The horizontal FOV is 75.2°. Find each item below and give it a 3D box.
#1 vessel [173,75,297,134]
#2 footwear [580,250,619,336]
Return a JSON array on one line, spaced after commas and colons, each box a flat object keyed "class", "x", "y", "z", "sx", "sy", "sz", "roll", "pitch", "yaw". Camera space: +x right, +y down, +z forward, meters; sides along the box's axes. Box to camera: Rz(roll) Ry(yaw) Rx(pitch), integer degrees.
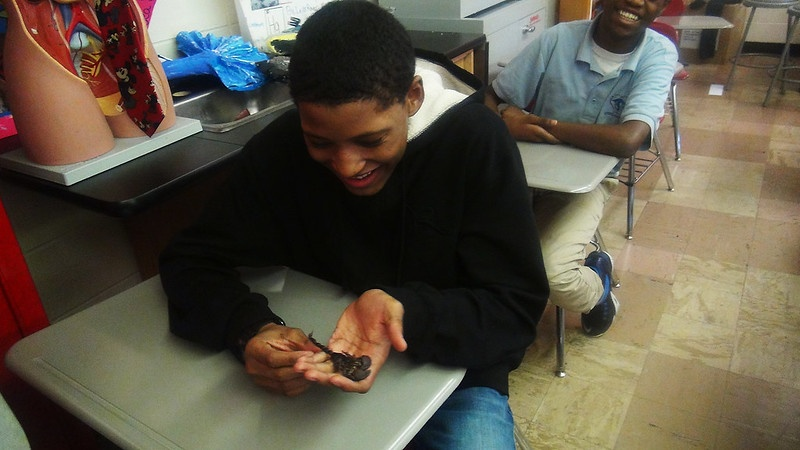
[{"class": "vessel", "x": -0.721, "y": -0.502, "z": 2.324, "sx": 0.342, "sy": 0.169, "sz": 0.446, "roll": 26, "pitch": 43, "yaw": 31}, {"class": "footwear", "x": 1.004, "y": 0.377, "z": 2.585, "sx": 0.166, "sy": 0.219, "sz": 0.479, "roll": 0, "pitch": 77, "yaw": 43}]
